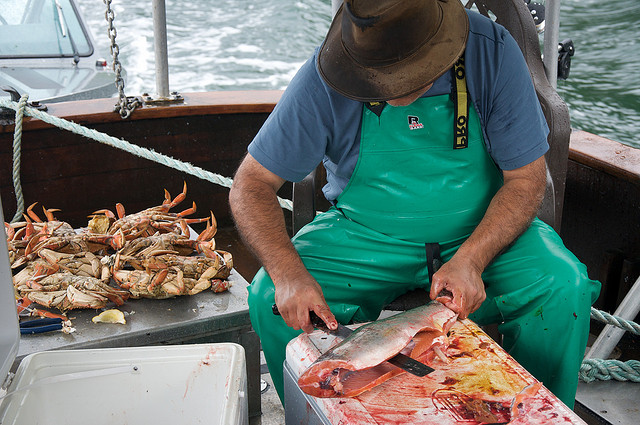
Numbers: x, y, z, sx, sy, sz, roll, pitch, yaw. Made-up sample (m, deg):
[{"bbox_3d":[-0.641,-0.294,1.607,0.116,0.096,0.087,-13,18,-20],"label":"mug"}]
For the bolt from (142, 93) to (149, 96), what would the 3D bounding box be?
[{"bbox_3d":[-1.232,-0.820,4.082,0.032,0.011,0.034,3,7,43],"label":"bolt"}]

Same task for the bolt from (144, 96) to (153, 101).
[{"bbox_3d":[-1.183,-0.777,3.978,0.042,0.017,0.060,-3,2,-28],"label":"bolt"}]

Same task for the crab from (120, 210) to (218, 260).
[{"bbox_3d":[-0.779,0.152,3.062,0.342,0.122,0.294,0,11,11],"label":"crab"}]

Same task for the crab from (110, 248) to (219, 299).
[{"bbox_3d":[-0.778,0.323,2.873,0.353,0.138,0.223,11,22,24],"label":"crab"}]

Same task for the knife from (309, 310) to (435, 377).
[{"bbox_3d":[0.209,0.519,2.279,0.475,0.040,0.077,23,28,39],"label":"knife"}]

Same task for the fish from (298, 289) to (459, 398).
[{"bbox_3d":[0.264,0.509,2.295,0.708,0.204,0.253,-28,19,-28],"label":"fish"}]

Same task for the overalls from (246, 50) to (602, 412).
[{"bbox_3d":[0.503,0.205,3.120,1.638,2.124,1.290,-4,36,12],"label":"overalls"}]
